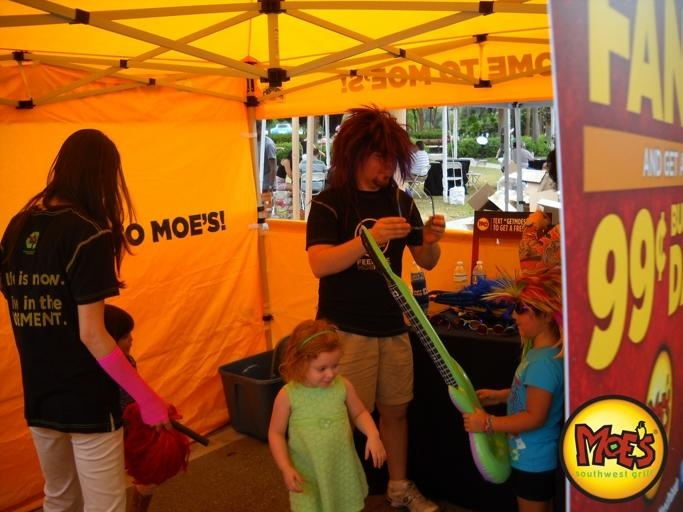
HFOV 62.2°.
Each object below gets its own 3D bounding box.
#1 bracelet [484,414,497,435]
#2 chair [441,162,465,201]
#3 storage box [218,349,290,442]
[{"bbox_3d":[0.580,0.650,2.203,0.028,0.061,0.045,0,-5,-44],"label":"bracelet"},{"bbox_3d":[2.160,-1.428,10.907,0.417,0.847,1.364,-2,7,14],"label":"chair"},{"bbox_3d":[-0.529,0.969,4.144,0.493,0.468,0.718,2,9,26],"label":"storage box"}]
